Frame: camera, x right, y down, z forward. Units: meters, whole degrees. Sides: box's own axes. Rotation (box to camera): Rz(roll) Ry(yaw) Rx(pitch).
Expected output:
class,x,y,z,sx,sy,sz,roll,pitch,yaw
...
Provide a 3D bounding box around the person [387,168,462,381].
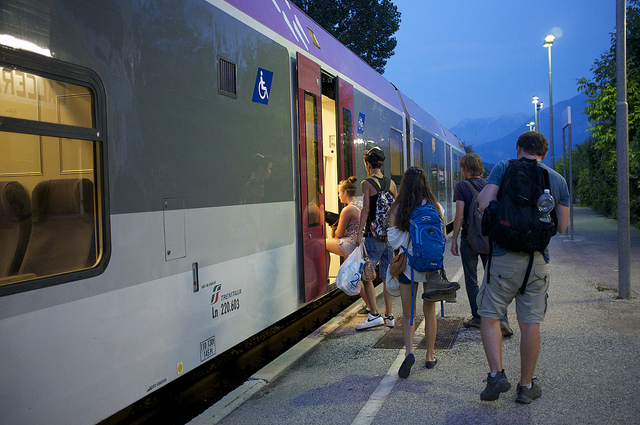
class,x,y,z,sx,sy,sz,roll,pitch,yaw
person,1.180,0.668,5.257,0.686,2.410,1.047,-2,-2,-4

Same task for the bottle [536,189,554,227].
class,x,y,z,sx,sy,sz,roll,pitch,yaw
bottle,2.190,-0.042,4.405,0.191,0.364,0.084,-3,2,-23

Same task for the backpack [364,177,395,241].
class,x,y,z,sx,sy,sz,roll,pitch,yaw
backpack,0.810,-0.069,6.337,0.396,0.869,0.359,13,13,38

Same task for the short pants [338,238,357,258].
class,x,y,z,sx,sy,sz,roll,pitch,yaw
short pants,0.395,0.503,6.761,0.233,0.281,0.186,16,20,27

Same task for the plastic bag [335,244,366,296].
class,x,y,z,sx,sy,sz,roll,pitch,yaw
plastic bag,0.435,0.804,6.262,0.428,0.694,0.233,-3,2,-11

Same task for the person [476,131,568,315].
class,x,y,z,sx,sy,sz,roll,pitch,yaw
person,2.382,0.256,5.082,0.600,2.260,0.956,-6,17,-10

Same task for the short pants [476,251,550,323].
class,x,y,z,sx,sy,sz,roll,pitch,yaw
short pants,2.004,0.703,4.686,0.635,0.913,0.513,4,7,19

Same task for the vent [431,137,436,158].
class,x,y,z,sx,sy,sz,roll,pitch,yaw
vent,3.749,-2.167,14.947,0.055,0.681,0.610,-4,-7,26
